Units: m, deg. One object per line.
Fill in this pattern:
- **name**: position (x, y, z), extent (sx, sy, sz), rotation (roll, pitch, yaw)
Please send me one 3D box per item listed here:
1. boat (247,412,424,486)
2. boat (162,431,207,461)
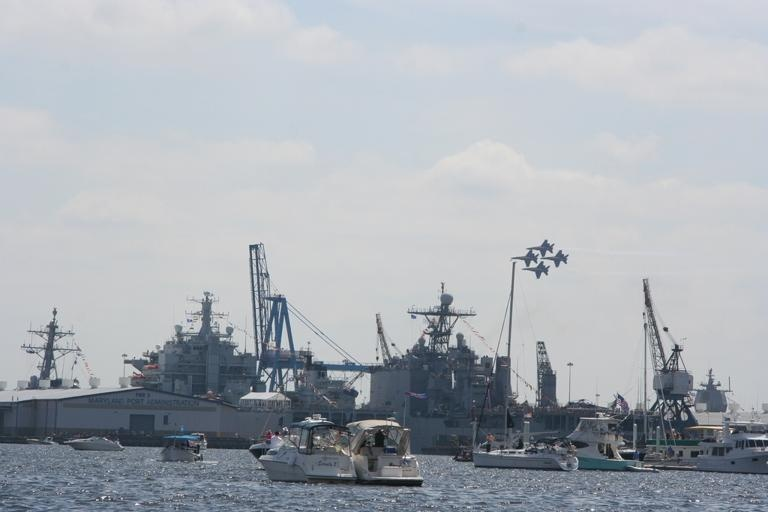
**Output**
- **boat**: position (-4.168, 21.134, 220.975), extent (13.110, 4.341, 7.668), rotation (0, -3, 6)
- **boat**: position (-24.266, 23.067, 251.455), extent (3.705, 3.720, 5.891), rotation (-4, -12, 21)
